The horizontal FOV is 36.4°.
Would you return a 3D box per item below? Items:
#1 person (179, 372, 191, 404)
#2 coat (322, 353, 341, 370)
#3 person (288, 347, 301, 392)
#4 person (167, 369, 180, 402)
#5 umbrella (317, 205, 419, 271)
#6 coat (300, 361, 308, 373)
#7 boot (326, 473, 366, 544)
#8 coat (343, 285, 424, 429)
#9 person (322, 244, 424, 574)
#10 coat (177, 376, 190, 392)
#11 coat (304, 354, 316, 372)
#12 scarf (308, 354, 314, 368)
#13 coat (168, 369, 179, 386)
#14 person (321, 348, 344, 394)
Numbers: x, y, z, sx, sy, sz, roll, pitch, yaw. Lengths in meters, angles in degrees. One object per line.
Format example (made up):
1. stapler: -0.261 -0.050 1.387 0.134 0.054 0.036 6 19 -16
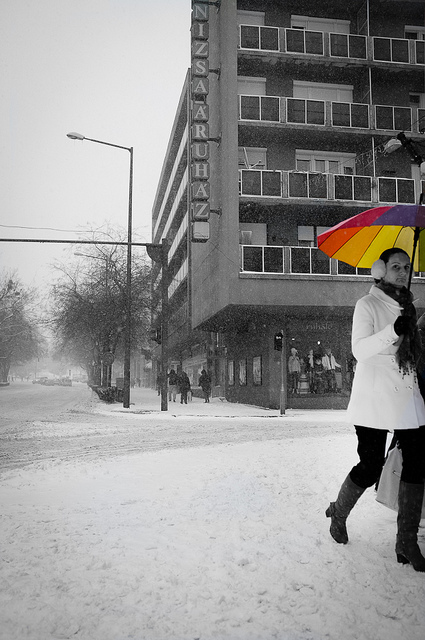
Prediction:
1. person: -1.285 3.215 30.043 0.436 1.426 0.842 0 -3 -4
2. coat: 4.800 1.751 25.997 0.525 1.098 0.422 1 -14 -21
3. person: 3.274 2.071 25.927 0.450 1.732 0.327 0 -3 10
4. person: -1.893 3.341 32.071 0.486 1.601 2.722 0 -5 -4
5. umbrella: 1.145 -0.602 4.778 0.497 0.287 0.615 21 -13 28
6. coat: 3.743 1.978 26.283 0.310 0.559 0.234 0 1 -3
7. boot: 0.811 1.155 3.955 0.131 0.429 0.370 1 -4 -11
8. coat: 1.026 0.207 3.835 0.465 0.875 0.431 -1 -3 15
9. person: 1.060 0.462 3.826 0.469 1.825 0.673 2 -4 -30
10. coat: -1.316 3.043 30.029 0.492 1.246 0.505 2 -6 -8
11. coat: 3.979 1.798 26.272 0.293 0.731 0.194 1 -6 -6
12. scarf: 4.007 1.744 26.397 0.255 0.839 0.103 2 -11 -11
13. coat: -1.868 2.838 31.350 0.431 0.702 0.702 1 -4 -11
14. person: 4.791 2.030 26.056 0.563 1.549 0.406 10 34 31
